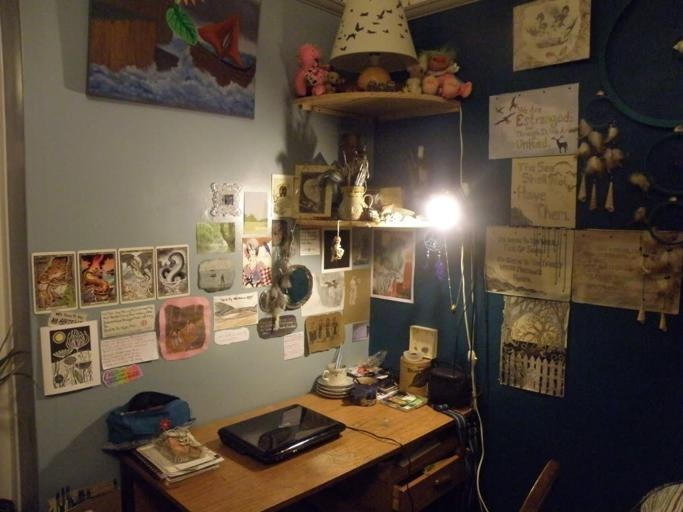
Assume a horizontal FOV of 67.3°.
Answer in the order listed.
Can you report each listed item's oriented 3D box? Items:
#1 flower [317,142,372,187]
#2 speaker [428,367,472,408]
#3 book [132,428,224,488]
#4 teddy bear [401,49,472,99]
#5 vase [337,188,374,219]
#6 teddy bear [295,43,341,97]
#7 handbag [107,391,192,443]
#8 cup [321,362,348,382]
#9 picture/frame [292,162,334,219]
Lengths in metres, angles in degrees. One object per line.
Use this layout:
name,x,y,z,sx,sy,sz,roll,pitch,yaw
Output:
flower,0.016,-0.449,2.823,0.322,0.273,0.245,-3,3,-1
speaker,0.595,0.726,2.820,0.132,0.200,0.230,1,0,-41
book,-0.720,0.824,2.235,0.231,0.108,0.228,0,7,-45
teddy bear,0.507,-0.982,2.859,0.333,0.282,0.167,13,-7,-7
vase,0.067,-0.281,2.801,0.145,0.182,0.238,-2,0,12
teddy bear,-0.140,-0.962,2.720,0.280,0.313,0.254,-15,23,-37
handbag,-0.874,0.647,2.323,0.188,0.122,0.337,25,18,38
cup,-0.045,0.660,2.956,0.126,0.088,0.085,-2,5,-35
picture/frame,-0.154,-0.352,2.794,0.271,0.405,0.041,0,5,-2
